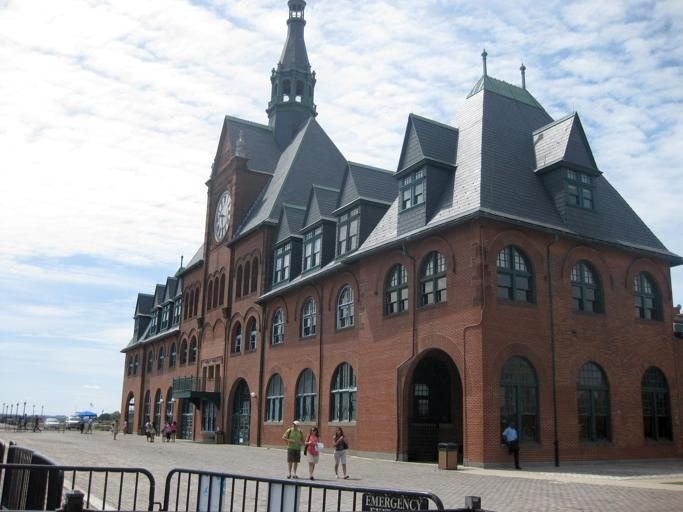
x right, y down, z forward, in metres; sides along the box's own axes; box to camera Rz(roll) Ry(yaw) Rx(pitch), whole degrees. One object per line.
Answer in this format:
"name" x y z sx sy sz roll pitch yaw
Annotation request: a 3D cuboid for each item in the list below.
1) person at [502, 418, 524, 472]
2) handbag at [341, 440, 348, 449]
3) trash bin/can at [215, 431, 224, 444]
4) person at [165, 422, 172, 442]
"person" 6.594 7.275 23.533 0.629 1.777 0.812 -4 -19 14
"handbag" 0.108 6.578 21.210 0.121 0.247 0.277 -2 -19 8
"trash bin/can" -8.542 12.702 42.611 0.794 1.127 0.777 3 -20 -10
"person" -13.200 13.398 46.210 0.451 1.404 1.737 6 -20 -15
